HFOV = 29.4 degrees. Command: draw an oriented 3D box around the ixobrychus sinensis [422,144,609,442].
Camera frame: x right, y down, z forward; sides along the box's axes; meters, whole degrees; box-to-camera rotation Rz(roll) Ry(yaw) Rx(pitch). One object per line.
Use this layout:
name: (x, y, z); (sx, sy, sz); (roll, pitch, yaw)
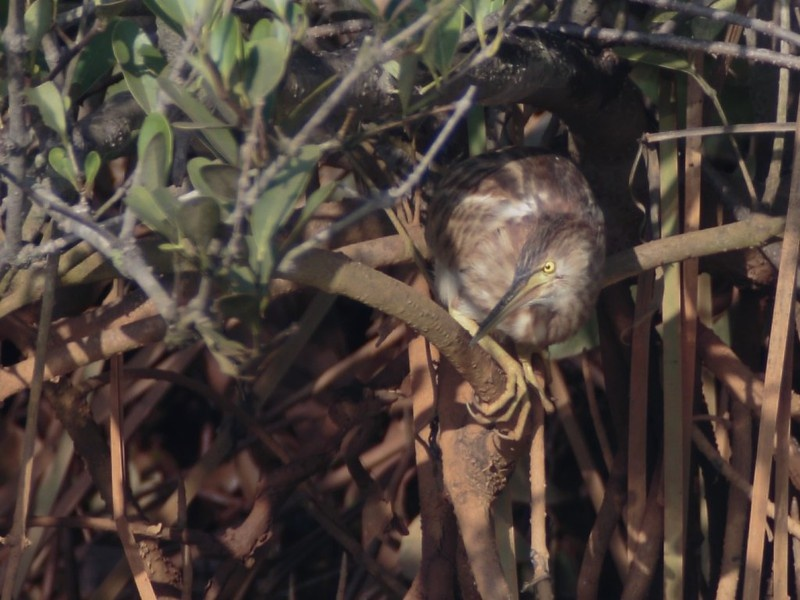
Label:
ixobrychus sinensis: (0.168, -0.061, 2.368); (0.204, 0.313, 0.489); (-2, 44, 1)
